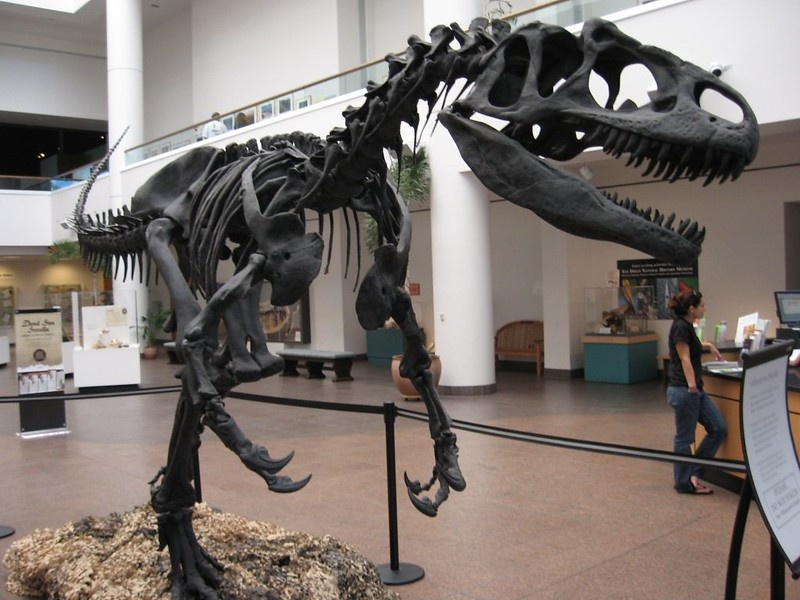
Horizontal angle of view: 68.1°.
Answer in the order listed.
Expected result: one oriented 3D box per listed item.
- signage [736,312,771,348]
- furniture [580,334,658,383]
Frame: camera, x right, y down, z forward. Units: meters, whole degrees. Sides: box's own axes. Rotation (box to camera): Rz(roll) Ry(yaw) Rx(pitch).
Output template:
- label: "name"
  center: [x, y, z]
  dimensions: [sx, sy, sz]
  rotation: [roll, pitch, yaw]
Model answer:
- label: "signage"
  center: [4.274, 0.364, 7.105]
  dimensions: [0.347, 0.469, 0.337]
  rotation: [-4, 9, -24]
- label: "furniture"
  center: [4.264, 1.081, 11.464]
  dimensions: [1.038, 0.805, 1.060]
  rotation: [-2, -2, 38]
